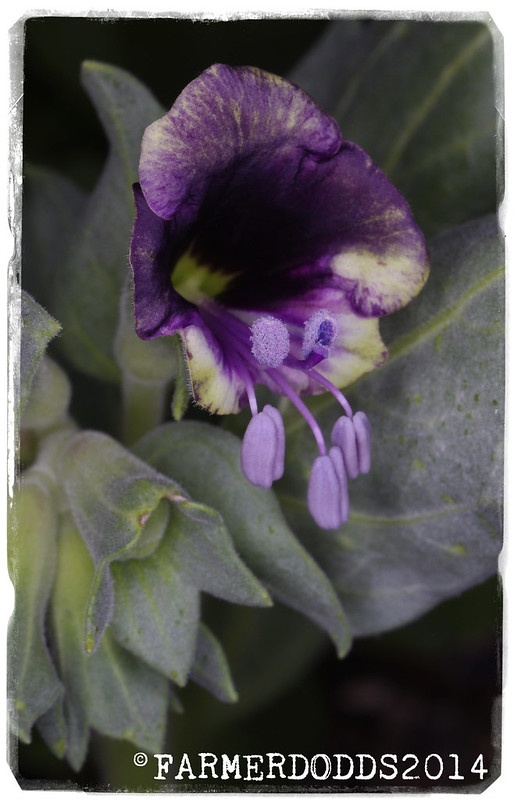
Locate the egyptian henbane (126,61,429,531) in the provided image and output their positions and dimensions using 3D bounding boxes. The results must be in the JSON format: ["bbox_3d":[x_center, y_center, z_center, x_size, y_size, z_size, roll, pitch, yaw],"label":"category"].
[{"bbox_3d":[0.002,-0.112,1.055,0.347,0.551,0.421,-7,13,-27],"label":"egyptian henbane"}]
